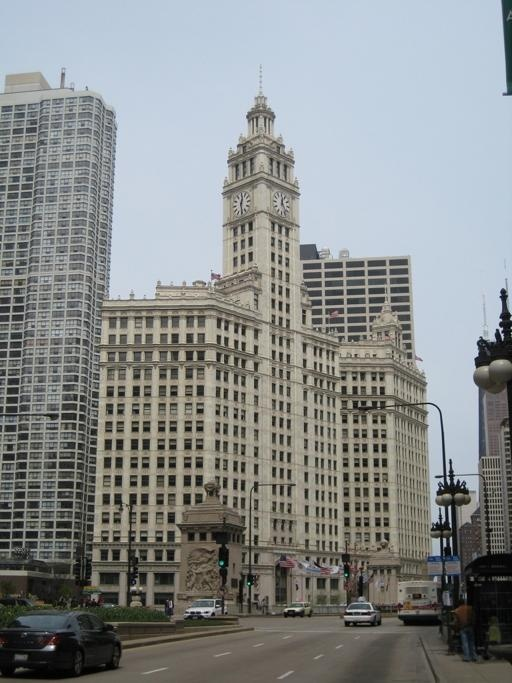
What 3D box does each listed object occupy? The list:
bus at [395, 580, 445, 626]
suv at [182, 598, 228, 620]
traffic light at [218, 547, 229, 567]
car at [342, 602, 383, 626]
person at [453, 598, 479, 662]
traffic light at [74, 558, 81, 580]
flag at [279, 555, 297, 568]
[{"bbox_3d":[9.795,15.858,64.538,2.775,2.452,4.937,-2,-14,11],"label":"bus"},{"bbox_3d":[-2.875,14.948,59.474,1.895,0.996,3.314,1,-15,-5],"label":"suv"},{"bbox_3d":[-1.393,9.232,45.608,0.357,0.876,0.814,1,-15,-7],"label":"traffic light"},{"bbox_3d":[5.834,14.908,58.448,1.166,0.952,2.829,-3,-22,8],"label":"car"},{"bbox_3d":[5.605,7.775,28.403,0.517,1.442,1.537,-3,-15,10],"label":"person"},{"bbox_3d":[-9.202,11.794,55.280,0.178,1.136,0.543,8,-17,-27],"label":"traffic light"},{"bbox_3d":[3.409,23.719,114.535,1.734,1.358,0.243,14,-27,-38],"label":"flag"}]
